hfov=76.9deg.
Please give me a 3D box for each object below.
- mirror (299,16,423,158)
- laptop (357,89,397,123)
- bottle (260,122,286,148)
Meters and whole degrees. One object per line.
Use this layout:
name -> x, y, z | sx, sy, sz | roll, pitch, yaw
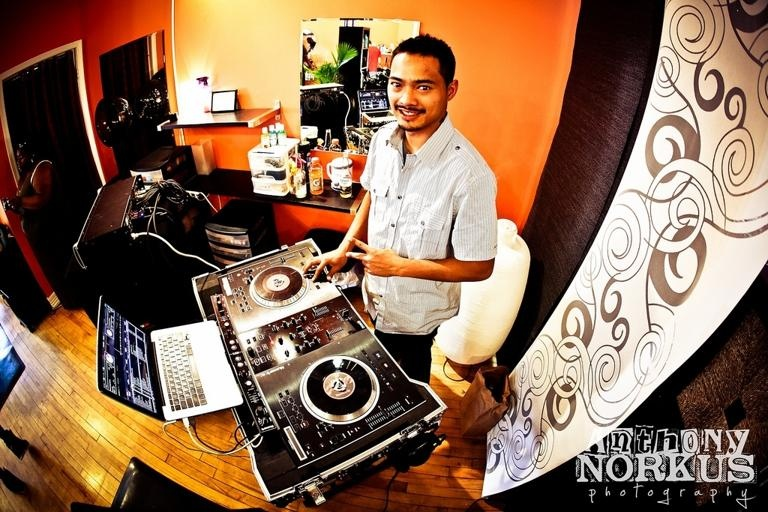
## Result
mirror -> -0.174, -1.319, 3.618 | 1.013, 0.996, 0.362 | 12, 25, 19
laptop -> -0.087, -1.225, 3.970 | 0.262, 0.198, 0.238 | -6, 52, -4
bottle -> -0.966, -1.003, 4.163 | 0.226, 0.214, 0.230 | -9, 30, -12
